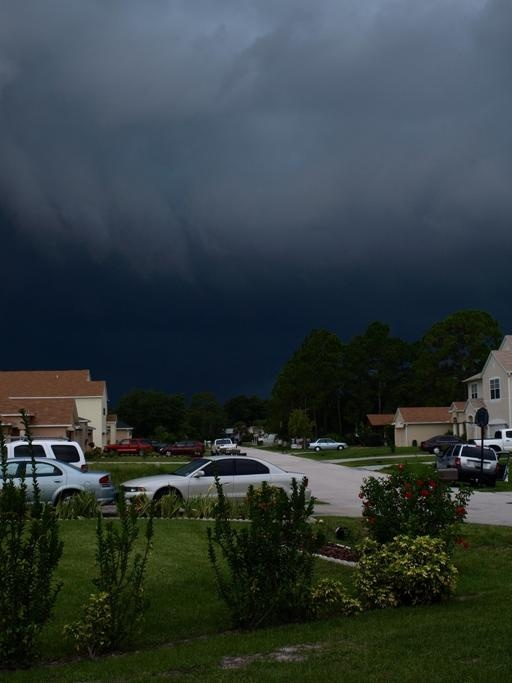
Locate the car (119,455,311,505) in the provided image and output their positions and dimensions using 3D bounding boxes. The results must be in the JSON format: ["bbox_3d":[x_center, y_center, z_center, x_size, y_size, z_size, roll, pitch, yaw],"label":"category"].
[{"bbox_3d":[-0.557,3.046,17.103,4.271,1.137,1.560,2,-7,-13],"label":"car"}]

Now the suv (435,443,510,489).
[{"bbox_3d":[6.556,3.785,25.785,1.936,1.297,1.940,-2,-7,13],"label":"suv"}]

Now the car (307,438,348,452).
[{"bbox_3d":[5.661,8.158,66.723,2.768,0.942,3.029,0,-6,1],"label":"car"}]
